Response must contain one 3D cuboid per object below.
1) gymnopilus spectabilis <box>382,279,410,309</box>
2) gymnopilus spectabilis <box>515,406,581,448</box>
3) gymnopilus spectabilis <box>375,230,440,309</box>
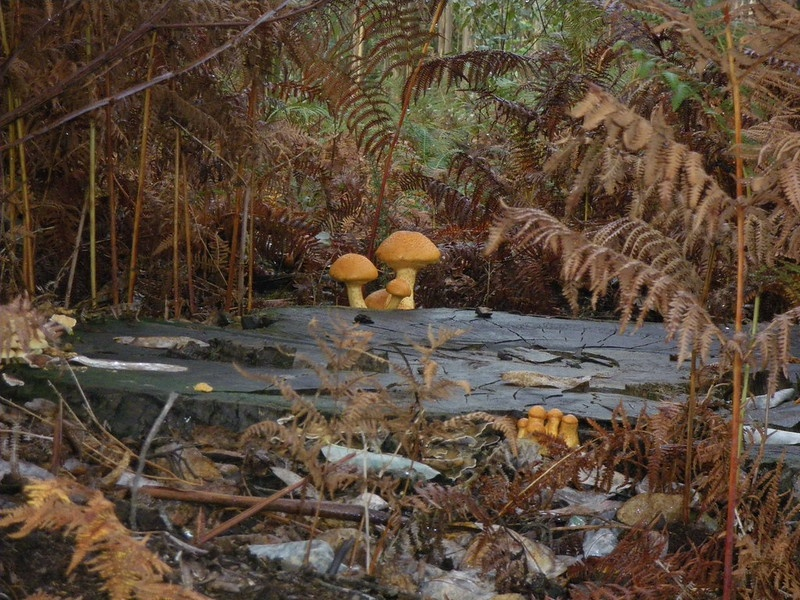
[{"bbox_3d":[-0.021,-0.036,6.337,0.114,0.151,0.115,-9,44,-41],"label":"gymnopilus spectabilis"},{"bbox_3d":[0.548,0.460,3.664,0.235,0.107,0.235,4,2,7],"label":"gymnopilus spectabilis"},{"bbox_3d":[0.041,-0.191,6.305,0.308,0.500,0.323,2,3,-43],"label":"gymnopilus spectabilis"}]
